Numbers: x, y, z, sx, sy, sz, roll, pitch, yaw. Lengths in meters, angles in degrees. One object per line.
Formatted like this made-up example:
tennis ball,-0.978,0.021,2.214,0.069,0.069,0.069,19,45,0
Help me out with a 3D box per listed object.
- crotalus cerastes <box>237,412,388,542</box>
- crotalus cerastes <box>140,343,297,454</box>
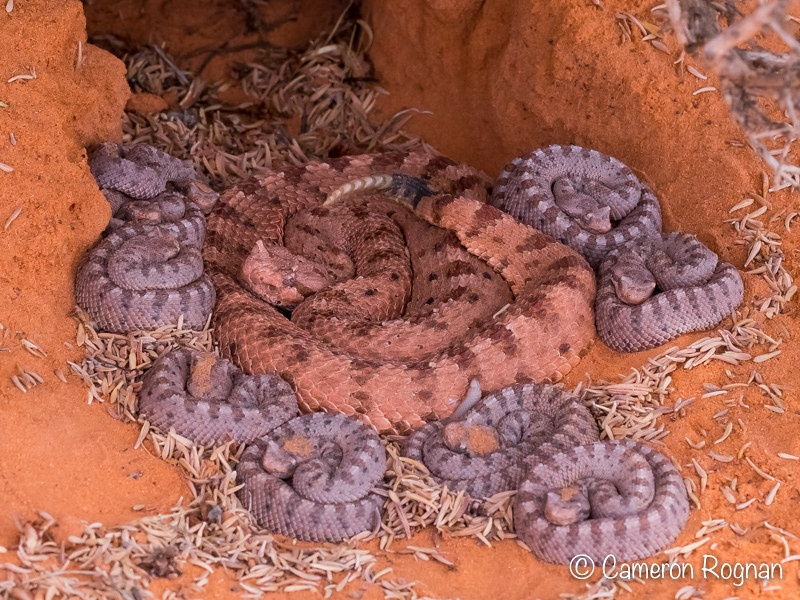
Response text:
crotalus cerastes,-0.538,1.064,5.551,0.884,0.741,0.463,0,-7,-1
crotalus cerastes,-1.173,0.622,5.712,0.691,0.234,0.644,17,25,13
